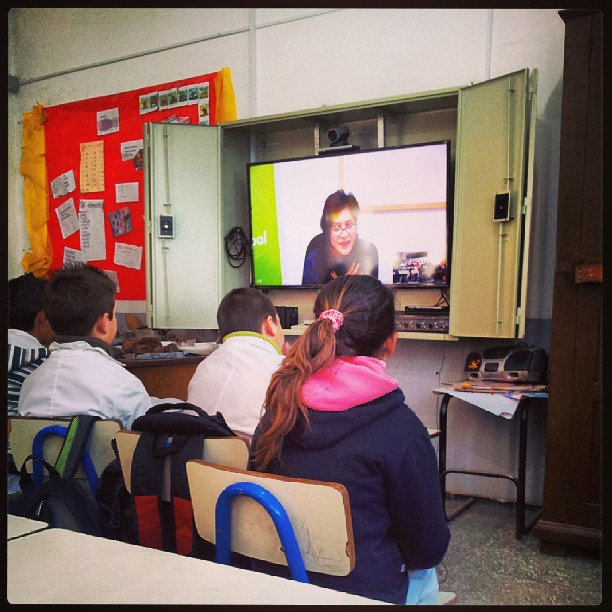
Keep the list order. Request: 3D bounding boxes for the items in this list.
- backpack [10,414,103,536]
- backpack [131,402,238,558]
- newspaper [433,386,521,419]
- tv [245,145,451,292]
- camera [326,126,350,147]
[{"bbox_3d":[-0.616,0.419,1.384,0.191,0.294,0.148,-1,-17,18],"label":"backpack"},{"bbox_3d":[-0.333,0.403,1.410,0.222,0.377,0.189,4,19,-1],"label":"backpack"},{"bbox_3d":[0.839,0.478,2.809,0.131,0.150,0.423,-1,-2,-41],"label":"newspaper"},{"bbox_3d":[0.309,-0.565,3.587,0.940,0.669,0.014,1,3,31],"label":"tv"},{"bbox_3d":[0.206,-1.123,3.666,0.125,0.113,0.138,11,21,30],"label":"camera"}]
